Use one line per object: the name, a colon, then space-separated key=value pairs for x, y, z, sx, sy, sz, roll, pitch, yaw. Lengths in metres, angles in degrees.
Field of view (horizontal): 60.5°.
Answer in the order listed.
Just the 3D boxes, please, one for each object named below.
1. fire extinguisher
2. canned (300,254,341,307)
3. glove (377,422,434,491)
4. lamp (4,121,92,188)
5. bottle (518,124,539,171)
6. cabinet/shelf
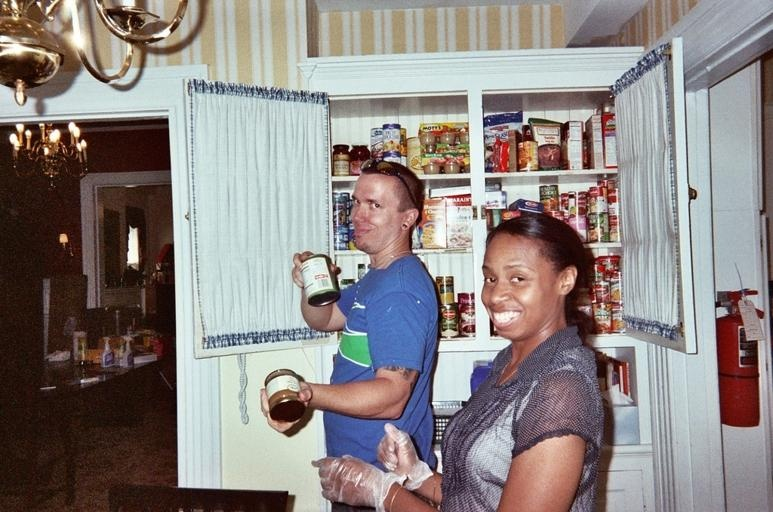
fire extinguisher: x=2.189 y=0.642 z=4.125 sx=0.235 sy=0.836 sz=0.262 roll=0 pitch=0 yaw=26
canned: x=-0.357 y=0.125 z=3.489 sx=0.168 sy=0.243 sz=0.158 roll=-12 pitch=-27 yaw=-8
glove: x=0.073 y=0.969 z=3.158 sx=0.180 sy=0.314 sz=0.205 roll=-27 pitch=-1 yaw=-5
lamp: x=-3.349 y=-1.018 z=6.559 sx=0.545 sy=0.854 sz=0.581 roll=-8 pitch=-12 yaw=32
bottle: x=0.900 y=-0.654 z=4.045 sx=0.125 sy=0.323 sz=0.121 roll=8 pitch=-4 yaw=1
cabinet/shelf: x=0.245 y=0.120 z=3.612 sx=2.764 sy=3.156 sz=0.939 roll=0 pitch=-12 yaw=1
